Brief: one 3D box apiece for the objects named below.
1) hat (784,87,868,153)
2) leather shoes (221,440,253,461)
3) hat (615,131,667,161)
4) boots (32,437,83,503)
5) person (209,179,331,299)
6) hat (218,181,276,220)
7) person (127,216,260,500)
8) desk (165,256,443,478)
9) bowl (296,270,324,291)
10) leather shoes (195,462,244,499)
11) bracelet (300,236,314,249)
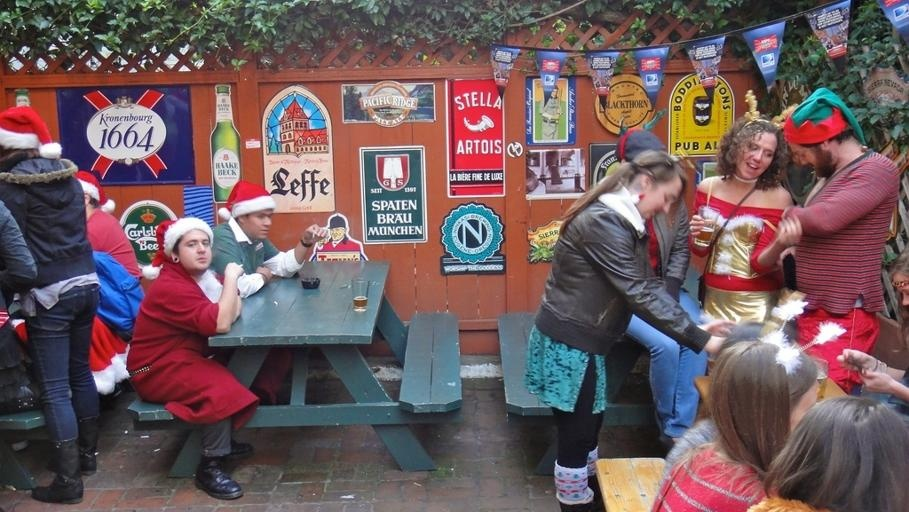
[{"bbox_3d":[2.760,-1.027,5.161,0.538,0.508,0.434,-9,26,12],"label":"hat"},{"bbox_3d":[-1.952,1.776,6.203,0.325,0.143,0.119,-2,7,-6],"label":"leather shoes"},{"bbox_3d":[1.596,-0.979,5.792,0.370,0.211,0.269,-24,28,-9],"label":"hat"},{"bbox_3d":[-3.318,1.802,5.705,0.428,0.517,0.194,-2,10,8],"label":"boots"},{"bbox_3d":[-1.911,-0.124,6.837,1.206,1.096,0.874,8,10,-15],"label":"person"},{"bbox_3d":[-2.045,-0.543,6.799,0.553,0.401,0.407,2,5,-19],"label":"hat"},{"bbox_3d":[-2.227,0.684,5.797,1.049,1.985,0.546,0,11,18],"label":"person"},{"bbox_3d":[-1.039,0.924,6.174,1.898,0.838,2.107,0,15,-2],"label":"desk"},{"bbox_3d":[-1.411,0.252,6.788,0.194,0.094,0.211,2,13,0],"label":"bowl"},{"bbox_3d":[-2.013,1.883,5.781,0.515,0.249,0.232,8,11,33],"label":"leather shoes"},{"bbox_3d":[-1.545,-0.138,7.041,0.161,0.096,0.123,16,-8,35],"label":"bracelet"}]
